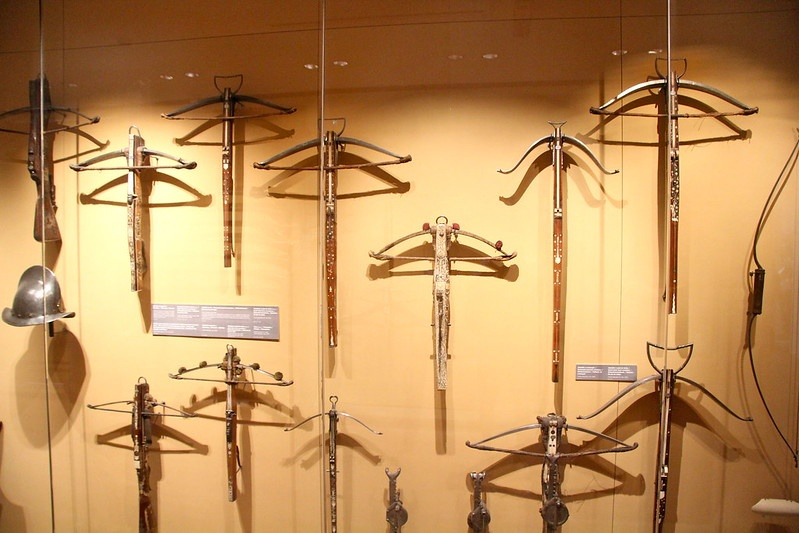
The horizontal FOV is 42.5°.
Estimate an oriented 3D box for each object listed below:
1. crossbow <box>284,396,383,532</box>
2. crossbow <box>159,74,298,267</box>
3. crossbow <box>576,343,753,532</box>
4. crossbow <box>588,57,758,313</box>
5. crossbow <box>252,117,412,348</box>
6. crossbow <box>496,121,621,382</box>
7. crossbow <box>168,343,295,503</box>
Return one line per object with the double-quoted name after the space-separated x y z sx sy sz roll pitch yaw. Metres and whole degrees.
-0.346 1.316 6.857 0.342 0.922 0.095 0 -1 -6 "crossbow"
-1.100 -0.683 6.854 1.254 1.687 0.133 0 2 3 "crossbow"
1.737 1.120 6.743 1.102 1.180 0.283 2 -1 5 "crossbow"
1.793 -0.535 6.705 1.070 1.653 0.075 0 -1 1 "crossbow"
-0.397 -0.265 6.813 1.501 2.017 0.220 0 -1 3 "crossbow"
1.065 -0.178 6.854 0.813 1.597 0.137 0 20 8 "crossbow"
-1.132 1.047 6.924 0.852 1.060 0.083 0 -1 9 "crossbow"
